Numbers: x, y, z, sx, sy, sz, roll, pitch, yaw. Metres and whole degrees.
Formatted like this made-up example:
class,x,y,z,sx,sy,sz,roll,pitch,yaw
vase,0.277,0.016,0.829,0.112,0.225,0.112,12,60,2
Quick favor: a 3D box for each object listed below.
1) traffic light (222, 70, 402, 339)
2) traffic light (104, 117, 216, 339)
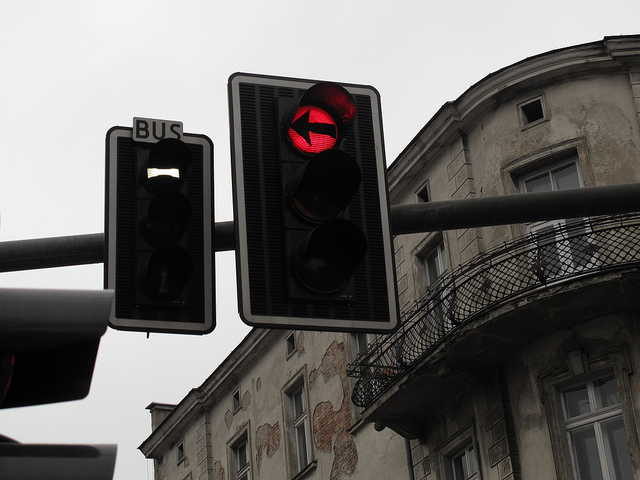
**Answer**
class,x,y,z,sx,sy,sz,roll,pitch,yaw
traffic light,0.004,-0.327,7.808,1.103,2.098,0.683,4,-33,-13
traffic light,-1.085,-0.090,7.901,0.700,0.553,1.604,4,-71,2
